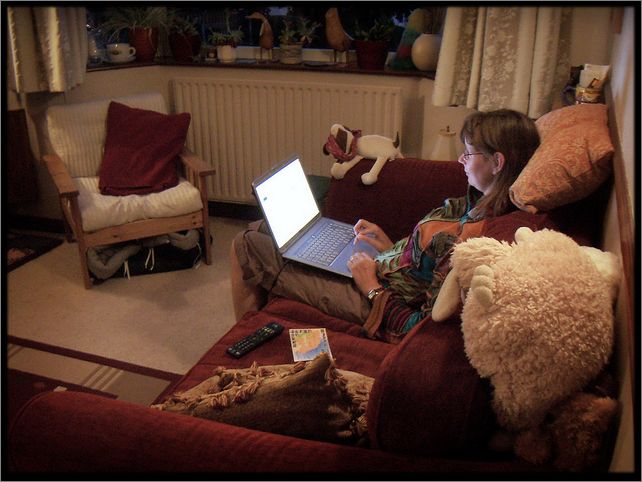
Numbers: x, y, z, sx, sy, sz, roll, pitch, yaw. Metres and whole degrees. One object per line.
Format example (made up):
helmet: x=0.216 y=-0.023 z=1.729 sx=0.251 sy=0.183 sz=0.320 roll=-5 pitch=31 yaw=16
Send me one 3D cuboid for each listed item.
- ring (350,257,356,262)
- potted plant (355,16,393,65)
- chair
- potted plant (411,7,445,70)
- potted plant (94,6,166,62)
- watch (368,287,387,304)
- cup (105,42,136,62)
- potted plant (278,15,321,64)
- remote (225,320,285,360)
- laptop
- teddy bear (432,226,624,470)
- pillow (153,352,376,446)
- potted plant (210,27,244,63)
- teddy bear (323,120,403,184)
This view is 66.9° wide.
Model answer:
ring: x=0.133 y=0.073 z=2.036 sx=0.020 sy=0.020 sz=0.020 roll=0 pitch=8 yaw=0
potted plant: x=0.321 y=-1.392 z=3.373 sx=0.308 sy=0.336 sz=0.278 roll=3 pitch=25 yaw=2
chair: x=-1.340 y=-0.414 z=3.330 sx=0.957 sy=0.921 sz=1.039 roll=-17 pitch=31 yaw=-35
potted plant: x=0.684 y=-1.304 z=3.147 sx=0.194 sy=0.381 sz=0.307 roll=3 pitch=24 yaw=10
potted plant: x=-1.428 y=-1.541 z=3.783 sx=0.432 sy=0.434 sz=0.435 roll=-3 pitch=16 yaw=-3
watch: x=0.222 y=0.209 z=1.913 sx=0.053 sy=0.022 sz=0.056 roll=-25 pitch=21 yaw=50
cup: x=-1.465 y=-1.400 z=3.611 sx=0.132 sy=0.136 sz=0.263 roll=15 pitch=28 yaw=33
potted plant: x=-0.161 y=-1.500 z=3.625 sx=0.297 sy=0.309 sz=0.354 roll=1 pitch=24 yaw=6
remote: x=-0.241 y=0.358 z=1.771 sx=0.210 sy=0.034 sz=0.085 roll=-30 pitch=41 yaw=-34
laptop: x=-0.082 y=-0.095 z=2.220 sx=0.552 sy=0.356 sz=0.543 roll=24 pitch=34 yaw=4
teddy bear: x=0.479 y=0.225 z=1.072 sx=0.356 sy=0.378 sz=0.405 roll=-10 pitch=25 yaw=-18
pillow: x=-0.138 y=0.380 z=1.238 sx=0.393 sy=0.146 sz=0.345 roll=1 pitch=16 yaw=14
potted plant: x=-0.710 y=-1.493 z=3.716 sx=0.257 sy=0.234 sz=0.257 roll=-12 pitch=36 yaw=-18
teddy bear: x=0.209 y=-0.452 z=2.439 sx=0.324 sy=0.156 sz=0.375 roll=10 pitch=37 yaw=26
